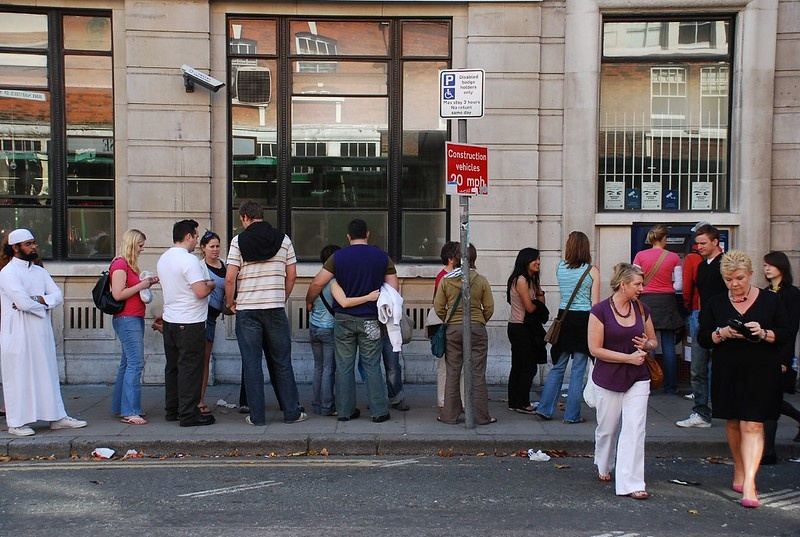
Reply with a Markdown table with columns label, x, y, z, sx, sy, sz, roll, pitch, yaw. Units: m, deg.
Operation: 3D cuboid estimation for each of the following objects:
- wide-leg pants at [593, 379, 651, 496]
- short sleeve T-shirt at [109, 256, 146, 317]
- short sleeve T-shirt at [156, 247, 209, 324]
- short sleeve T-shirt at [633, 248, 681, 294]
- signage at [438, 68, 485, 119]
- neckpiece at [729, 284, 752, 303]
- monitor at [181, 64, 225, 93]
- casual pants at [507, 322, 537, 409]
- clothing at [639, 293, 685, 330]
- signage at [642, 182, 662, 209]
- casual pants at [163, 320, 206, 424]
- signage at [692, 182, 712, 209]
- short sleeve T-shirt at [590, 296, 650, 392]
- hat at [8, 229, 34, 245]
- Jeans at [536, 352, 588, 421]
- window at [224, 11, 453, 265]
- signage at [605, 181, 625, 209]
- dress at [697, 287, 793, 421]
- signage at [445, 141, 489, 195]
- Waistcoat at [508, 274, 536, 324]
| label | x | y | z | sx | sy | sz | roll | pitch | yaw |
| --- | --- | --- | --- | --- | --- | --- | --- | --- | --- |
| wide-leg pants | 2.903 | 2.209 | 17.386 | 0.730 | 1.475 | 0.497 | 3 | 4 | 29 |
| short sleeve T-shirt | -3.882 | 0.316 | 19.091 | 0.390 | 0.644 | 0.662 | 17 | 44 | -3 |
| short sleeve T-shirt | -3.081 | 0.262 | 18.943 | 1.065 | 0.962 | 0.588 | 7 | 10 | 36 |
| short sleeve T-shirt | 3.912 | 0.069 | 20.175 | 0.702 | 0.613 | 0.369 | 1 | 8 | 16 |
| signage | 0.879 | -2.470 | 18.776 | 0.973 | 0.948 | 0.097 | 0 | 2 | 6 |
| neckpiece | 4.416 | 0.336 | 17.258 | 0.195 | 0.141 | 0.246 | -2 | -23 | 11 |
| monitor | -3.140 | -3.019 | 21.163 | 0.679 | 0.420 | 0.310 | 0 | 4 | -8 |
| casual pants | 1.811 | 1.400 | 19.826 | 0.537 | 1.403 | 0.578 | 1 | -1 | -17 |
| clothing | 4.180 | 0.605 | 20.835 | 0.696 | 0.603 | 0.384 | -1 | 14 | 45 |
| signage | 4.111 | -1.167 | 21.679 | 0.466 | 0.568 | 0.061 | 1 | 1 | 4 |
| casual pants | -3.111 | 1.411 | 19.123 | 0.698 | 1.437 | 0.504 | -10 | -11 | 40 |
| signage | 4.934 | -1.167 | 21.663 | 0.445 | 0.537 | 0.059 | 1 | 3 | 2 |
| short sleeve T-shirt | 2.899 | 1.023 | 17.431 | 0.754 | 1.208 | 0.307 | 1 | 4 | 7 |
| hat | -5.386 | -0.454 | 18.854 | 0.271 | 0.152 | 0.258 | -3 | 9 | -12 |
| Jeans | 2.387 | 1.638 | 19.387 | 0.655 | 1.500 | 0.448 | 10 | -31 | 2 |
| window | -1.119 | -2.181 | 21.339 | 4.441 | 4.422 | 0.179 | 0 | 1 | -3 |
| signage | 3.496 | -1.167 | 21.649 | 0.460 | 0.557 | 0.317 | 1 | 4 | 5 |
| dress | 4.490 | 1.266 | 17.271 | 1.159 | 2.661 | 0.934 | -2 | -4 | 26 |
| signage | 0.937 | -1.399 | 18.727 | 0.073 | 0.734 | 0.932 | -7 | -7 | 44 |
| Waistcoat | 1.809 | 0.455 | 19.468 | 0.402 | 0.647 | 0.469 | -9 | 27 | -10 |
